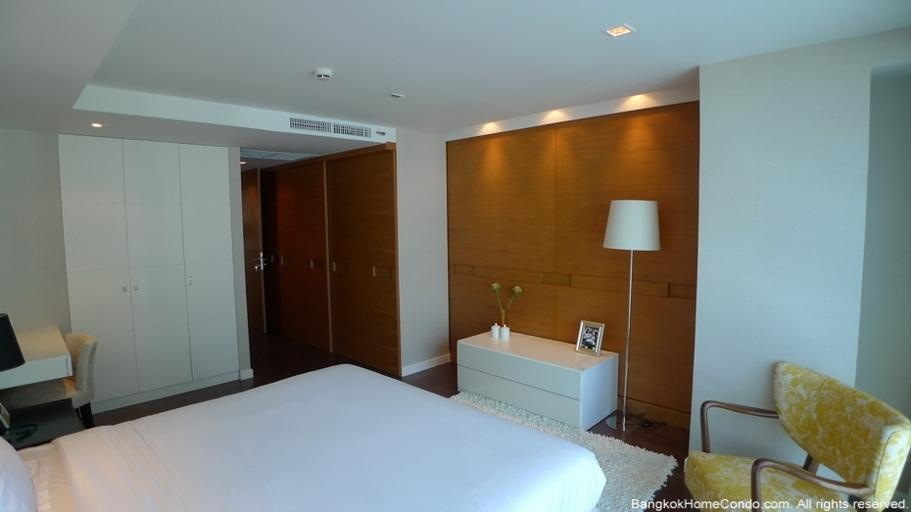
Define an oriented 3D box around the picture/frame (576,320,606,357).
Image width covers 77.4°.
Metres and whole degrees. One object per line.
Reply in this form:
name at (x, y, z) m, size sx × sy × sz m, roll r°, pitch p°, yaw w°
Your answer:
picture/frame at (1.508, 0.920, 6.307) m, size 0.398 × 0.454 × 0.062 m, roll 7°, pitch -14°, yaw 38°
